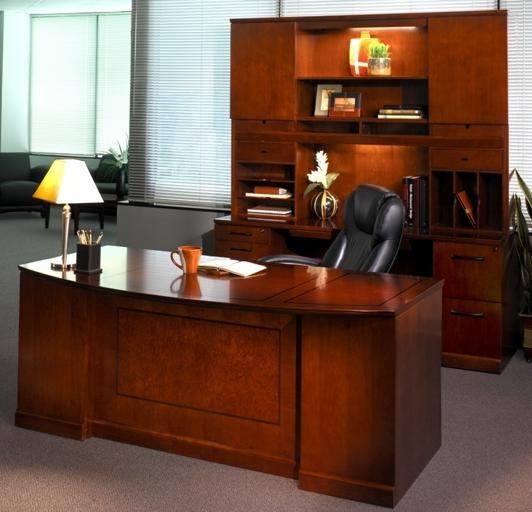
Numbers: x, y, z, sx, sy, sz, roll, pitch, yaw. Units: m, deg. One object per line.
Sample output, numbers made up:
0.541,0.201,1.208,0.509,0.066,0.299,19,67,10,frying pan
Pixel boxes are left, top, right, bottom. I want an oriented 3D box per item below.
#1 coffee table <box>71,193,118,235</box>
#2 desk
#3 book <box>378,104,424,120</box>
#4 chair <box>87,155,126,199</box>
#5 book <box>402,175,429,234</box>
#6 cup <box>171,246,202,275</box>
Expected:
-2.368,-0.581,7.019,0.688,0.538,0.407,1,3,15,coffee table
-0.202,0.458,2.193,1.700,0.806,0.790,3,5,30,desk
1.007,-1.067,3.734,0.338,0.124,0.125,2,4,14,book
-2.623,-1.356,8.676,0.708,0.727,0.701,-3,5,-39,chair
1.106,-0.398,3.720,0.178,0.373,0.150,1,3,14,book
-0.377,0.019,2.335,0.113,0.125,0.166,-1,-2,-8,cup
